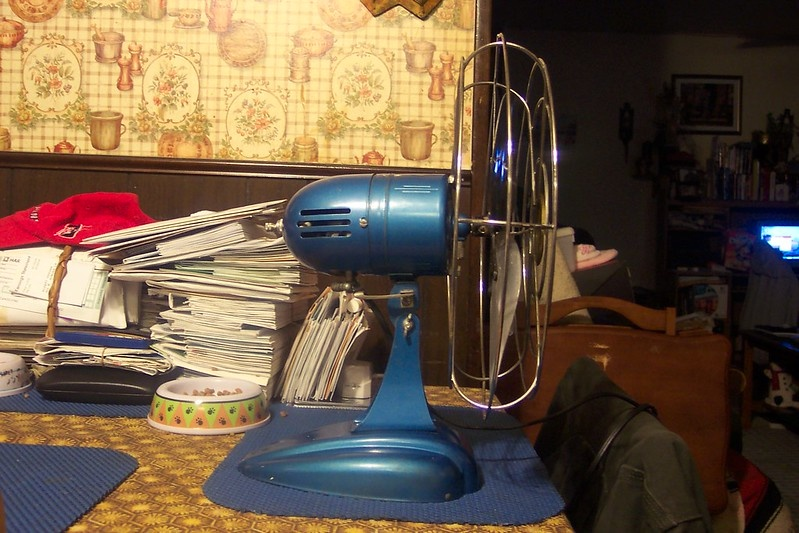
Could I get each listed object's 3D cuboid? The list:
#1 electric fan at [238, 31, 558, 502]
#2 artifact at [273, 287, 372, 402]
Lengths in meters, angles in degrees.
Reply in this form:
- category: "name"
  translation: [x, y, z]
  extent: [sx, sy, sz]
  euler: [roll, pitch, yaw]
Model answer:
- category: "electric fan"
  translation: [-0.042, 0.015, 1.725]
  extent: [0.693, 0.964, 0.765]
  euler: [-1, 0, -1]
- category: "artifact"
  translation: [-0.204, 0.221, 1.946]
  extent: [0.110, 0.305, 0.240]
  euler: [22, 0, 12]
